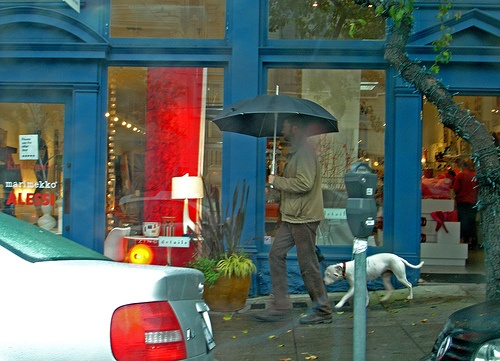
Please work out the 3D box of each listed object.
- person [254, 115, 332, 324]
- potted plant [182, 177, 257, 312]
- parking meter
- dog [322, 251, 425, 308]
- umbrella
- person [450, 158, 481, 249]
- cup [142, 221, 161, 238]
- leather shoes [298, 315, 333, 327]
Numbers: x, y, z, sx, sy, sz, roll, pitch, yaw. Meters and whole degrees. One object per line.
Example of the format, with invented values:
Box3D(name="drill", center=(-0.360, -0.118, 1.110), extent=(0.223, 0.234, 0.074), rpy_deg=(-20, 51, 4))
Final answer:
Box3D(name="person", center=(0.605, 0.518, 7.728), extent=(0.884, 2.651, 0.738), rpy_deg=(-1, 8, 7))
Box3D(name="potted plant", center=(-0.370, 0.970, 8.570), extent=(1.107, 1.671, 0.983), rpy_deg=(-4, -2, 11))
Box3D(name="parking meter", center=(1.130, 0.892, 5.934), extent=(0.304, 2.154, 0.482), rpy_deg=(0, 9, 17))
Box3D(name="dog", center=(1.748, 1.399, 8.230), extent=(1.513, 0.689, 0.313), rpy_deg=(-7, 5, 0))
Box3D(name="umbrella", center=(0.370, -0.669, 8.648), extent=(1.579, 0.894, 1.552), rpy_deg=(-8, 17, -32))
Box3D(name="person", center=(4.609, 0.636, 12.507), extent=(0.492, 1.741, 0.507), rpy_deg=(1, 9, 21))
Box3D(name="cup", center=(-1.578, 0.779, 9.411), extent=(0.358, 0.238, 0.197), rpy_deg=(1, 7, 11))
Box3D(name="leather shoes", center=(0.846, 1.820, 7.577), extent=(0.427, 0.165, 0.151), rpy_deg=(4, -12, -1))
